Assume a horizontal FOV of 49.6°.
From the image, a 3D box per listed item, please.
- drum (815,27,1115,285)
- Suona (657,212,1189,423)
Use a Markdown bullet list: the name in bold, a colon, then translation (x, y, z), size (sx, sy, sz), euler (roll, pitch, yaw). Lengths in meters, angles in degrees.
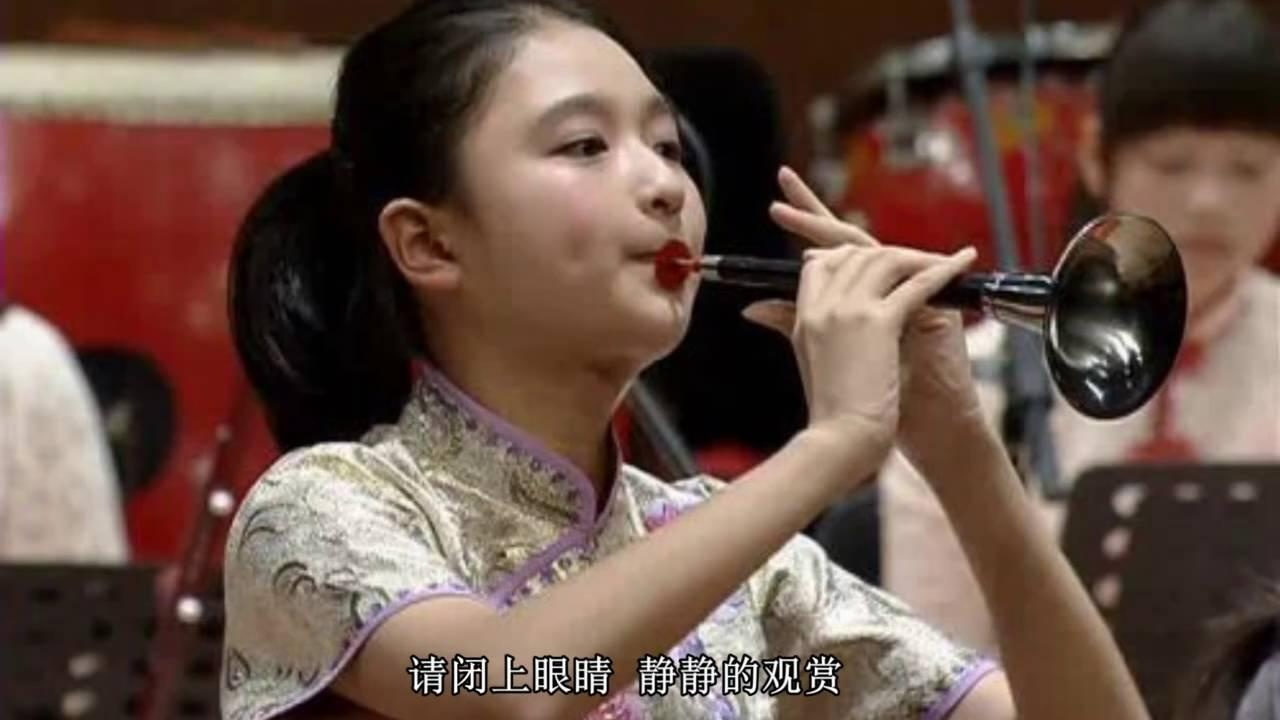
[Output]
- **drum**: translation (0.573, -0.352, 2.563), size (0.462, 0.317, 0.444), euler (-4, -2, 0)
- **Suona**: translation (0.501, -0.075, 2.302), size (0.905, 0.334, 0.346), euler (3, -4, 20)
